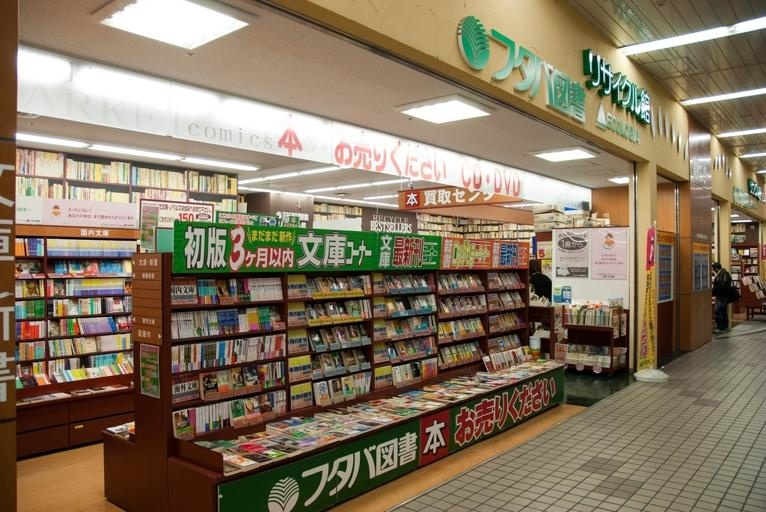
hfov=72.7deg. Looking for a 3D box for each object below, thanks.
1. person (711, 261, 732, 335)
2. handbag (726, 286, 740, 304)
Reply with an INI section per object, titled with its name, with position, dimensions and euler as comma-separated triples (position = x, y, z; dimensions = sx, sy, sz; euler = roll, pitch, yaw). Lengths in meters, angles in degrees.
[person]
position = 9.543, 1.173, 14.624
dimensions = 0.467, 1.973, 1.523
euler = 1, 3, 34
[handbag]
position = 9.778, 1.057, 14.474
dimensions = 0.224, 0.487, 0.691
euler = 1, 3, 34
